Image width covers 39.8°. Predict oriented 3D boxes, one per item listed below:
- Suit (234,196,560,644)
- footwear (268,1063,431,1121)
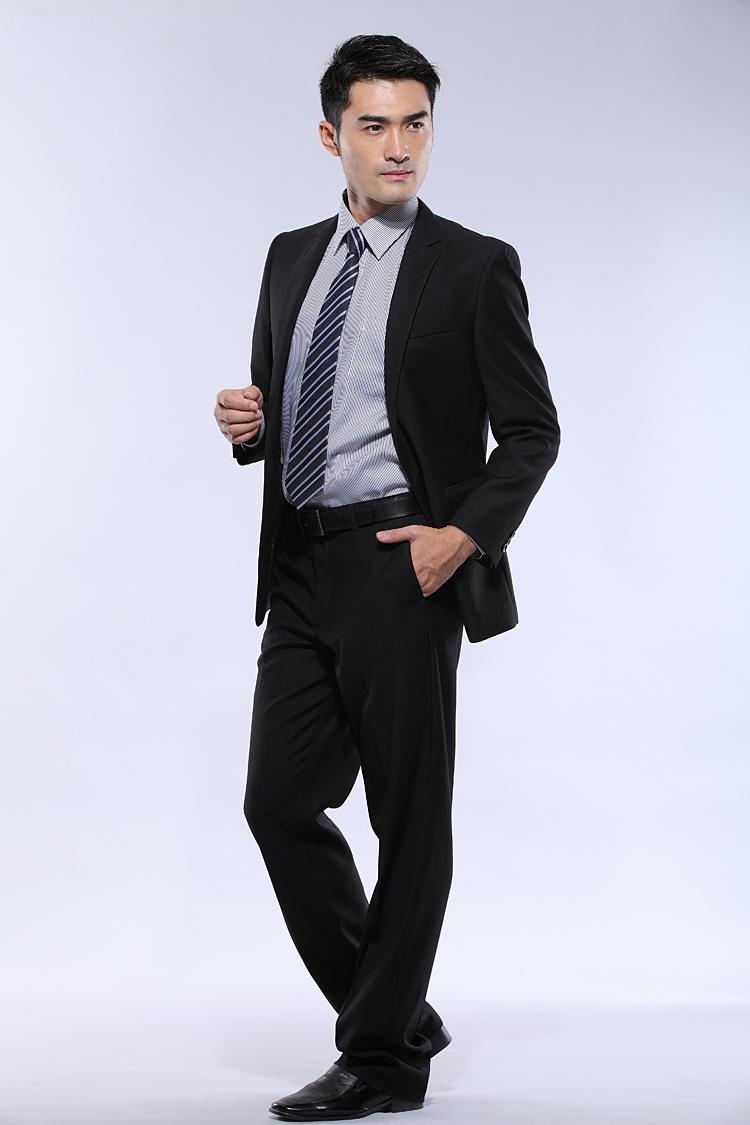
[{"bbox_3d":[0.030,-0.249,1.590,0.487,0.740,0.297,-1,-12,7],"label":"Suit"},{"bbox_3d":[-0.050,0.782,1.560,0.256,0.102,0.089,4,-12,-14],"label":"footwear"}]
